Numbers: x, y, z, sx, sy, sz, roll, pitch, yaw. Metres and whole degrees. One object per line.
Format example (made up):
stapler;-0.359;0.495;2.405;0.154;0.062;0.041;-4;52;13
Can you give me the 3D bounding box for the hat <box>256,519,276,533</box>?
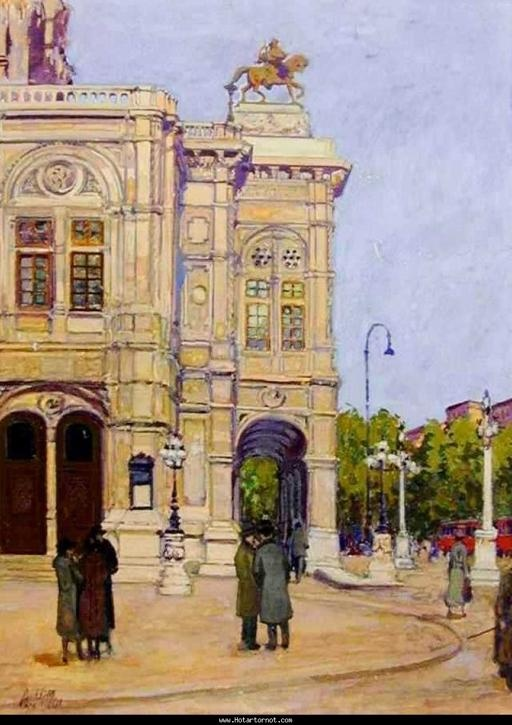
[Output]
hat;0.133;2.369;21.349;0.185;0.161;0.185;-5;-4;40
